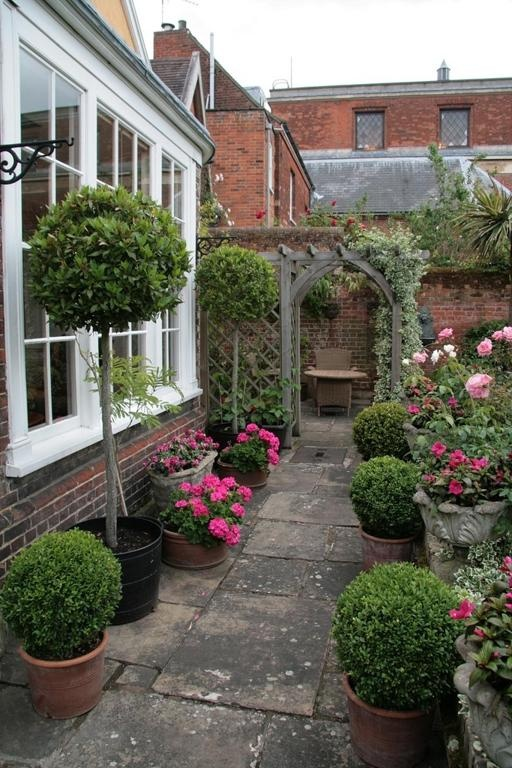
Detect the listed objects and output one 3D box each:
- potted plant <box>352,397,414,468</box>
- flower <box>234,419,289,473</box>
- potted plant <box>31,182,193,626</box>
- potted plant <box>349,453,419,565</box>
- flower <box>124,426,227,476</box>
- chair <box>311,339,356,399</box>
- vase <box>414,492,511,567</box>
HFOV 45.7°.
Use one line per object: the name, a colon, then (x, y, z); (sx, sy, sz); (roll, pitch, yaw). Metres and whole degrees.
potted plant: (1.370, 0.553, 6.418); (0.634, 0.671, 0.659); (9, -15, 19)
flower: (0.003, 0.624, 5.701); (0.398, 0.350, 0.404); (4, 35, -6)
potted plant: (-0.705, 0.117, 3.044); (0.739, 2.192, 1.053); (0, 5, -7)
potted plant: (0.812, 0.793, 3.721); (0.508, 0.709, 0.481); (-2, 0, 8)
flower: (-0.640, 0.511, 4.618); (0.327, 0.190, 0.570); (5, 11, 27)
chair: (1.404, -0.448, 10.972); (0.647, 0.898, 0.709); (1, -1, 8)
vase: (0.943, 0.667, 2.855); (0.306, 0.209, 0.309); (0, -5, 0)
